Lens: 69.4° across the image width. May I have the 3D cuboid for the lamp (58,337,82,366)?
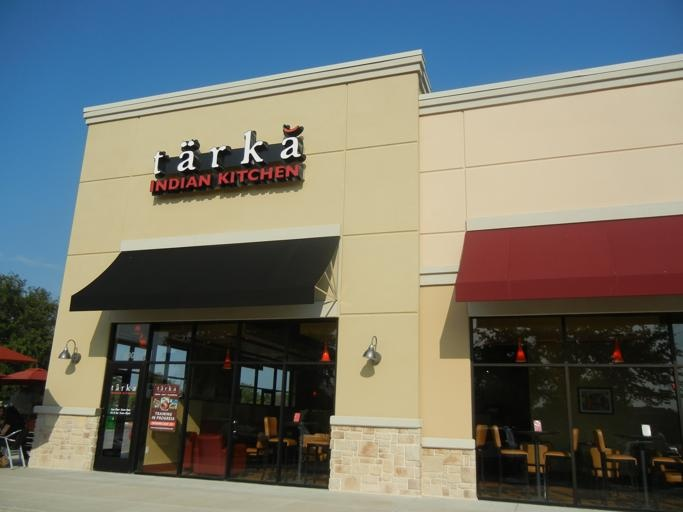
[{"bbox_3d":[-9.979,3.471,18.013,0.780,0.952,0.579,-4,-17,20],"label":"lamp"}]

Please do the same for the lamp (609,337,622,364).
[{"bbox_3d":[7.572,2.618,13.609,0.292,0.671,0.085,-6,-18,25],"label":"lamp"}]

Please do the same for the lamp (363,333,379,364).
[{"bbox_3d":[0.919,2.849,15.009,0.492,0.876,0.470,-2,-17,13],"label":"lamp"}]
